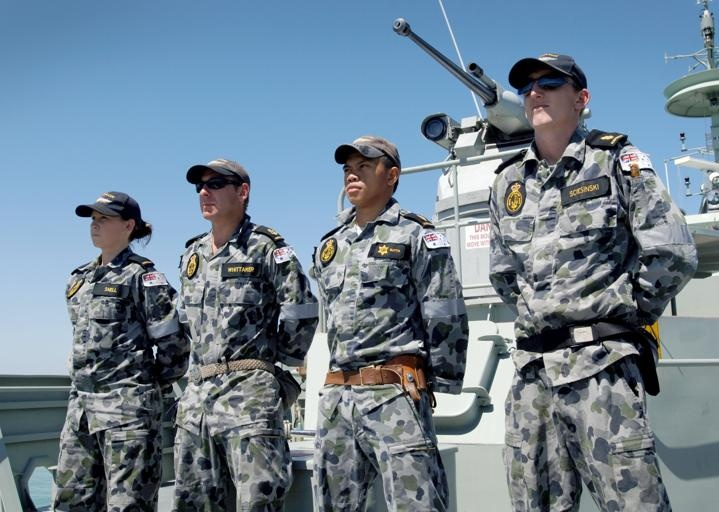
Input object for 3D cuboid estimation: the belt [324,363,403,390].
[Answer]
[{"bbox_3d":[0.014,0.730,4.524,0.500,0.128,0.120,-12,-8,33],"label":"belt"}]
